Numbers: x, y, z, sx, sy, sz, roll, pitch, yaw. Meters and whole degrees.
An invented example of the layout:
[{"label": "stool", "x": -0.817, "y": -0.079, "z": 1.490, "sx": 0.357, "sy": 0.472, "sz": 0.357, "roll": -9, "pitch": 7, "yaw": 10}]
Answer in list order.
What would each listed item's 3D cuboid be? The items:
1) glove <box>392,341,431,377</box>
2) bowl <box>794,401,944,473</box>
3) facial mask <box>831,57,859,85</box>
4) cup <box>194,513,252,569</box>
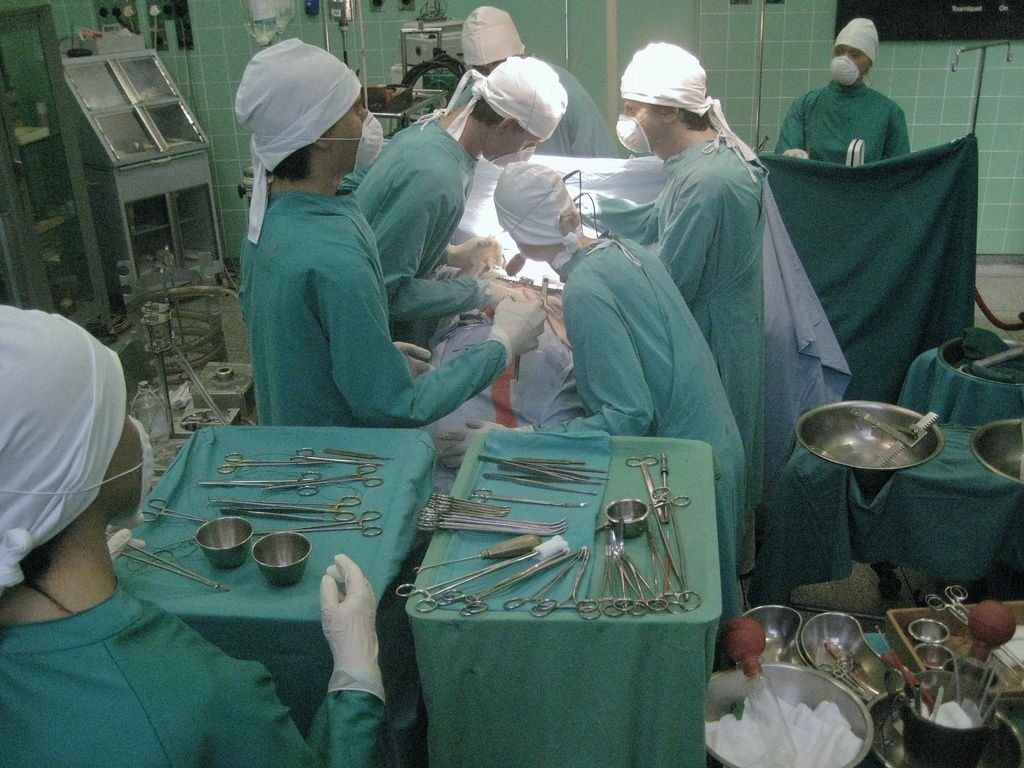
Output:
[{"label": "glove", "x": -0.299, "y": -0.068, "z": 2.578, "sx": 0.113, "sy": 0.066, "sz": 0.075, "roll": -18, "pitch": 50, "yaw": 20}, {"label": "bowl", "x": 1.119, "y": 0.170, "z": 2.819, "sx": 0.429, "sy": 0.116, "sz": 0.329, "roll": 5, "pitch": 21, "yaw": 21}, {"label": "facial mask", "x": 1.612, "y": -1.525, "z": 4.348, "sx": 0.108, "sy": 0.104, "sz": 0.118, "roll": 18, "pitch": 11, "yaw": 23}, {"label": "cup", "x": -0.605, "y": 0.330, "z": 1.873, "sx": 0.096, "sy": 0.065, "sz": 0.101, "roll": 0, "pitch": 32, "yaw": 0}]
